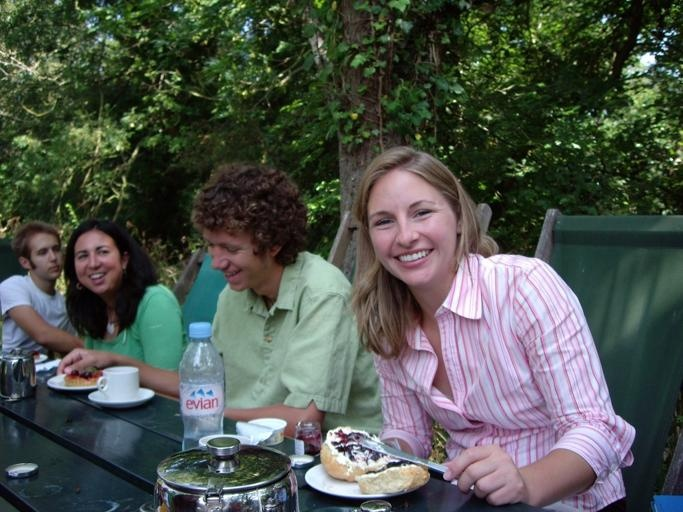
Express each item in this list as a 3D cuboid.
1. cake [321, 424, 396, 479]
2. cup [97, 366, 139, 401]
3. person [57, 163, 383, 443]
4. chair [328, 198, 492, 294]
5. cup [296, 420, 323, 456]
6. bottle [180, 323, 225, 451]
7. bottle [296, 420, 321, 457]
[{"bbox_3d":[0.039,0.565,1.714,0.152,0.064,0.134,12,21,14],"label":"cake"},{"bbox_3d":[-0.914,0.515,2.427,0.157,0.117,0.119,-1,3,-26],"label":"cup"},{"bbox_3d":[-0.435,0.142,2.805,1.374,1.204,1.079,4,-7,-43],"label":"person"},{"bbox_3d":[0.422,-0.116,4.150,0.697,1.012,0.772,0,-3,28],"label":"chair"},{"bbox_3d":[-0.090,0.606,1.956,0.066,0.091,0.092,-5,-2,21],"label":"cup"},{"bbox_3d":[-0.473,0.430,2.030,0.162,0.431,0.264,5,-1,-11],"label":"bottle"},{"bbox_3d":[-0.088,0.616,1.953,0.069,0.091,0.094,-20,-21,28],"label":"bottle"}]
